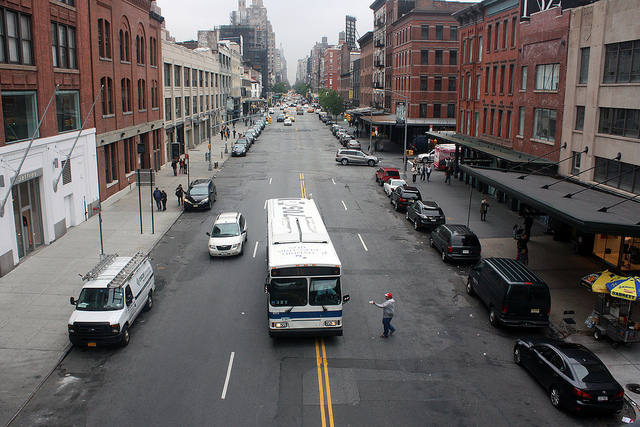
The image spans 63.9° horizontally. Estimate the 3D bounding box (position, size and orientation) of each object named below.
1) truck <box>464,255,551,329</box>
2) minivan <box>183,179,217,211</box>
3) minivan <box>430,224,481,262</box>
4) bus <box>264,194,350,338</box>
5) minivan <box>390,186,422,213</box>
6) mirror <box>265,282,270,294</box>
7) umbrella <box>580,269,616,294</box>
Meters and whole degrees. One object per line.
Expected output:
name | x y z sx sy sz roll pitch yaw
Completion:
truck | 9.550 3.921 26.696 2.433 2.197 4.457 3 22 -5
minivan | -10.144 -1.476 42.941 2.017 1.907 3.012 -1 17 -1
minivan | 8.883 1.802 34.248 2.219 2.255 5.095 1 14 -6
bus | -1.419 2.335 29.425 3.446 4.147 13.816 0 14 -7
minivan | 7.429 -1.506 44.927 2.153 2.071 4.335 4 16 -6
mirror | -2.393 3.388 23.231 0.155 0.586 0.480 -4 17 -13
umbrella | 13.876 3.429 25.479 1.365 0.491 1.490 -25 9 23
